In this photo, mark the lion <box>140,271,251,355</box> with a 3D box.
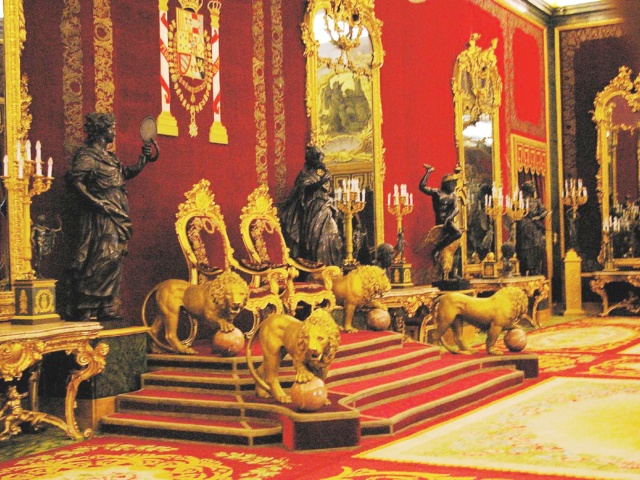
[{"bbox_3d":[-1.365,0.815,8.816,1.287,0.931,0.491,4,10,18],"label":"lion"}]

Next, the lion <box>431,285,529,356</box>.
[{"bbox_3d":[2.126,0.958,10.312,1.057,0.890,0.979,0,1,40],"label":"lion"}]

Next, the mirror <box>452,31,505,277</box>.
[{"bbox_3d":[2.869,-1.503,14.675,0.259,4.656,2.235,-3,-4,44],"label":"mirror"}]

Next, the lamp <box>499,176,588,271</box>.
[{"bbox_3d":[4.337,-0.149,16.580,1.470,2.574,0.801,1,2,-15],"label":"lamp"}]

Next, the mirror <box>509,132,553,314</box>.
[{"bbox_3d":[4.289,-0.451,16.718,0.381,3.902,1.038,2,1,38],"label":"mirror"}]

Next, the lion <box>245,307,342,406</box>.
[{"bbox_3d":[-0.282,1.183,7.581,0.790,0.946,0.800,3,3,18],"label":"lion"}]

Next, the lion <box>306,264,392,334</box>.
[{"bbox_3d":[0.346,0.786,10.353,0.909,0.867,0.749,2,2,-23],"label":"lion"}]

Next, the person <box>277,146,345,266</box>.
[{"bbox_3d":[-0.147,-0.473,10.872,0.712,1.716,0.610,1,2,-37],"label":"person"}]
